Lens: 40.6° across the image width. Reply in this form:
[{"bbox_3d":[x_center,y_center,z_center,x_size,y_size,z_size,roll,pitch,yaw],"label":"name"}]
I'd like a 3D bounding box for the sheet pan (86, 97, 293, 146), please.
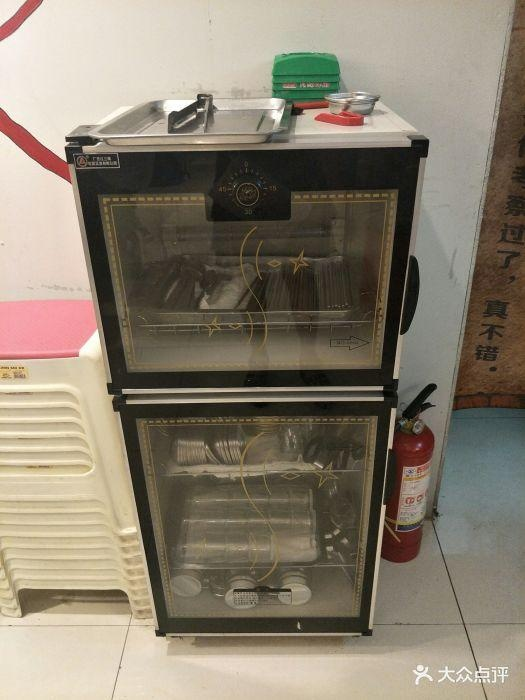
[{"bbox_3d":[-0.130,-0.432,1.364,0.265,0.037,0.253,0,43,2],"label":"sheet pan"}]

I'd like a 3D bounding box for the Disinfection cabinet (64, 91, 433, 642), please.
[{"bbox_3d":[0.008,0.112,1.649,0.655,1.310,0.618,3,42,11],"label":"Disinfection cabinet"}]

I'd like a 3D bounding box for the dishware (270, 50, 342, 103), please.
[{"bbox_3d":[0.094,-0.615,1.545,0.209,0.109,0.132,0,40,2],"label":"dishware"}]
